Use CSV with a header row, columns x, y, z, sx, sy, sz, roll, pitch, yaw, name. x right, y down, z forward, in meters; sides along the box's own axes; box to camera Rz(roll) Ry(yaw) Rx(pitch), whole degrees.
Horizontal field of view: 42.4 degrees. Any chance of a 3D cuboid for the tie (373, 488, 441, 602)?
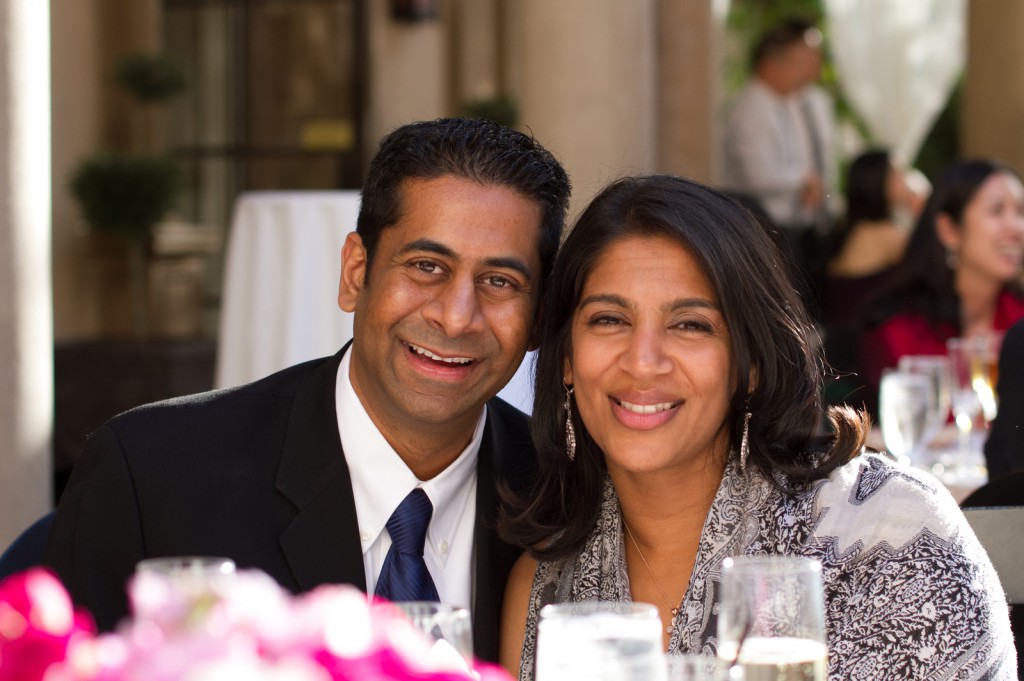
x,y,z,sx,sy,sz,roll,pitch,yaw,name
-0.339,0.655,4.180,0.211,0.354,0.226,-1,3,-7,tie
